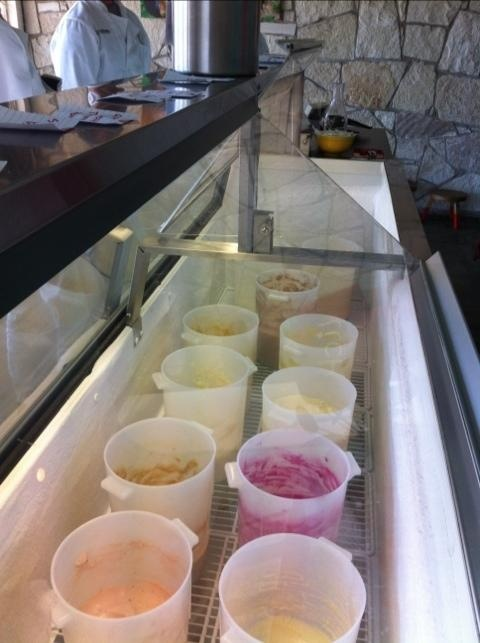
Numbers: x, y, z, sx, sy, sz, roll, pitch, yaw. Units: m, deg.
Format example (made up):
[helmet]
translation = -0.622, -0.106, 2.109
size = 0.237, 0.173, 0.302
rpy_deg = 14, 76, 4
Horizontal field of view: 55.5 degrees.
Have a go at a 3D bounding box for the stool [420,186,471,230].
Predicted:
[stool]
translation = 1.922, -1.044, 4.144
size = 0.402, 0.289, 0.411
rpy_deg = 3, 28, 18
